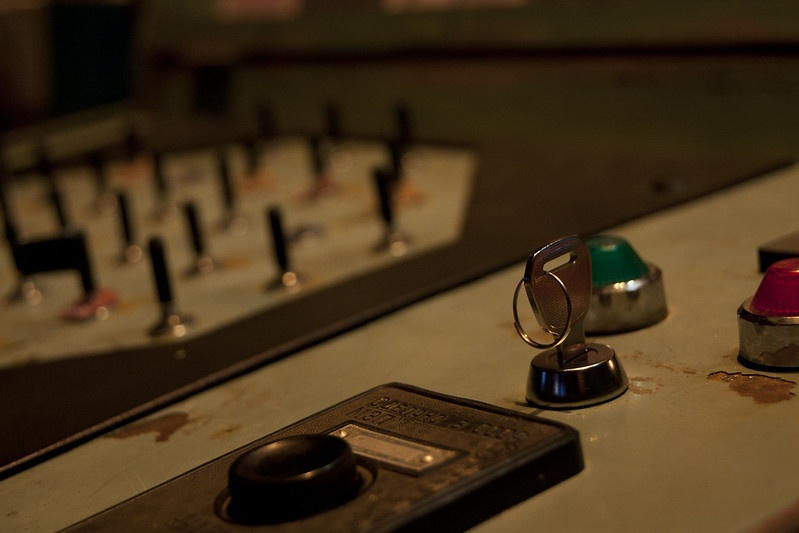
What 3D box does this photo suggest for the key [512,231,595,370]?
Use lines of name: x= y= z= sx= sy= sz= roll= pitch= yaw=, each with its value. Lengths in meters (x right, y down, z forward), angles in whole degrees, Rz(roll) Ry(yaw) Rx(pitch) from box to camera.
key: x=0.201 y=0.040 z=0.811 sx=0.103 sy=0.149 sz=0.040 roll=-19 pitch=20 yaw=-38
